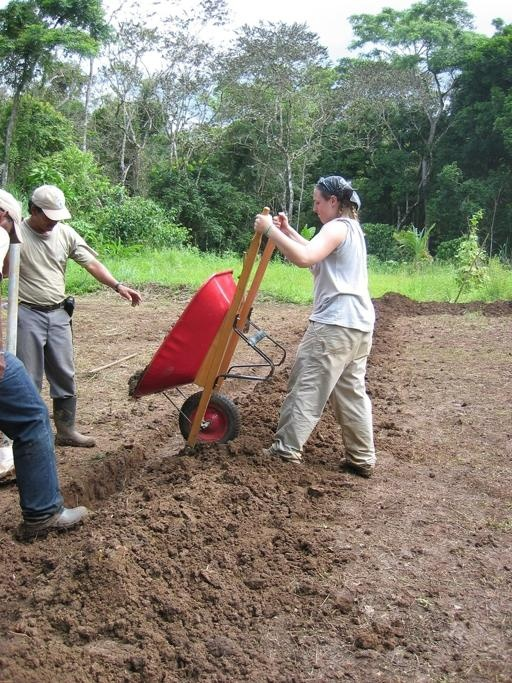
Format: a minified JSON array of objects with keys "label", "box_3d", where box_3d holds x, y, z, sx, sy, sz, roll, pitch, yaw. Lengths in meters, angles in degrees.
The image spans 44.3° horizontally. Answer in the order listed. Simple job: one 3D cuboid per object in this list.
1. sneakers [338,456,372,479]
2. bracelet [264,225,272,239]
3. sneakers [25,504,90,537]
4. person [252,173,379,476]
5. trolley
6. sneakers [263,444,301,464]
[{"label":"sneakers","box_3d":[0.637,0.816,4.039,0.109,0.081,0.169,6,-16,-20]},{"label":"bracelet","box_3d":[0.064,-0.584,3.369,0.023,0.055,0.053,17,-20,-8]},{"label":"sneakers","box_3d":[-1.001,0.909,3.226,0.308,0.117,0.115,-14,19,-30]},{"label":"person","box_3d":[0.358,0.082,3.725,0.774,1.616,0.380,-8,16,-32]},{"label":"trolley","box_3d":[-0.360,0.027,3.974,1.038,1.267,0.656,-8,-7,17]},{"label":"sneakers","box_3d":[0.156,0.687,3.855,0.180,0.060,0.110,22,0,15]}]
